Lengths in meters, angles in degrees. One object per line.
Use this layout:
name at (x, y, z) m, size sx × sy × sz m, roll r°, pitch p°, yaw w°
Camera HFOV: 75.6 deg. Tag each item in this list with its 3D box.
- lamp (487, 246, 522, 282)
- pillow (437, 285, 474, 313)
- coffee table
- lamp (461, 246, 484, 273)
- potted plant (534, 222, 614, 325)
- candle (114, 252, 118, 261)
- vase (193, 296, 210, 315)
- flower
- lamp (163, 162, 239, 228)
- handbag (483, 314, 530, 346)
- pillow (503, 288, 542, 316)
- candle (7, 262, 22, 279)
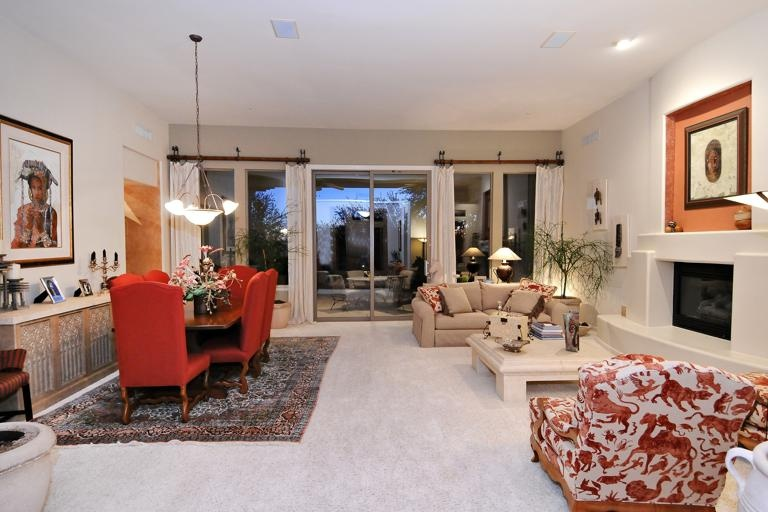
lamp at (2.082, 0.149, 8.623) m, size 0.669 × 0.700 × 0.654 m, roll -2°, pitch -7°, yaw 22°
pillow at (1.072, 0.661, 7.643) m, size 0.452 × 0.406 × 0.134 m, roll 5°, pitch -26°, yaw -28°
coffee table at (1.809, 1.246, 5.704) m, size 0.997 × 0.268 × 0.962 m, roll -2°, pitch 1°, yaw -4°
lamp at (1.609, 0.069, 9.139) m, size 0.471 × 0.482 × 0.456 m, roll 0°, pitch -6°, yaw 0°
potted plant at (3.121, 0.331, 8.565) m, size 1.642 × 1.306 × 1.587 m, roll 0°, pitch 4°, yaw 7°
candle at (-3.837, -0.001, 7.099) m, size 0.034 × 0.137 × 0.134 m, roll -2°, pitch 10°, yaw -16°
vase at (-2.151, 0.577, 5.803) m, size 0.206 × 0.208 × 0.192 m, roll 0°, pitch 0°, yaw -10°
flower at (-2.176, 0.185, 6.095) m, size 0.613 × 0.547 × 0.553 m, roll 7°, pitch 13°, yaw 24°
lamp at (-2.493, -0.941, 6.694) m, size 0.768 × 0.980 × 0.889 m, roll 1°, pitch 2°, yaw 32°
handbag at (1.459, 0.790, 5.849) m, size 0.477 × 0.300 × 0.340 m, roll 1°, pitch 4°, yaw 17°
pillow at (2.130, 0.722, 7.653) m, size 0.602 × 0.355 × 0.402 m, roll 4°, pitch 10°, yaw 25°
candle at (-4.063, 0.164, 5.420) m, size 0.133 × 0.170 × 0.098 m, roll -4°, pitch 10°, yaw -23°
